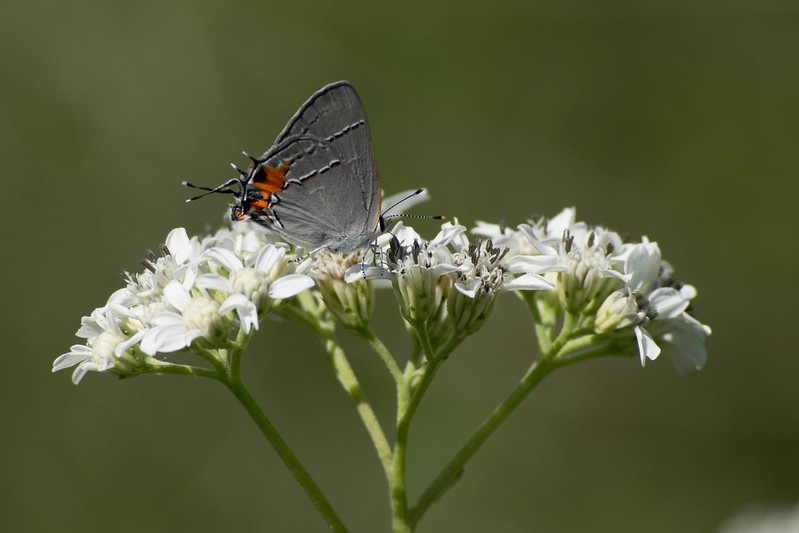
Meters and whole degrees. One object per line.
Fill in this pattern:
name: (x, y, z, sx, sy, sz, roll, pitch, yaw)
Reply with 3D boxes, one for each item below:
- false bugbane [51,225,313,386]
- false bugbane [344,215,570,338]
false bugbane: (-2.424, 0.463, 8.804, 2.180, 2.115, 0.938, -43, -96, 14)
false bugbane: (0.625, 0.110, 9.452, 1.367, 2.411, 1.729, -8, -83, 3)
